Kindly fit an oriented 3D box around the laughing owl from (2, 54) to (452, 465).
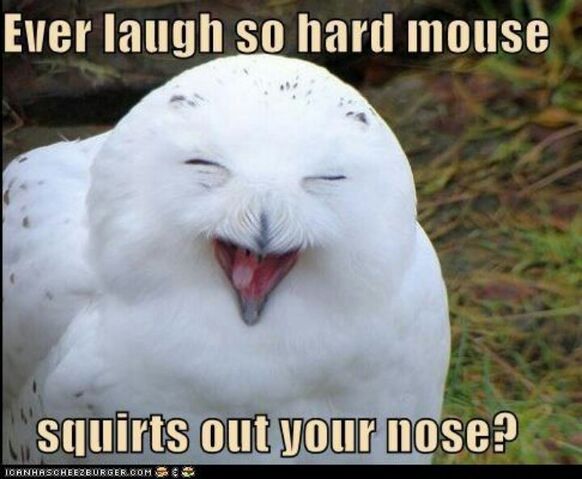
[{"bbox_3d":[-0.210,-0.108,2.553,0.889,1.166,0.895,0,-64,-5],"label":"laughing owl"}]
